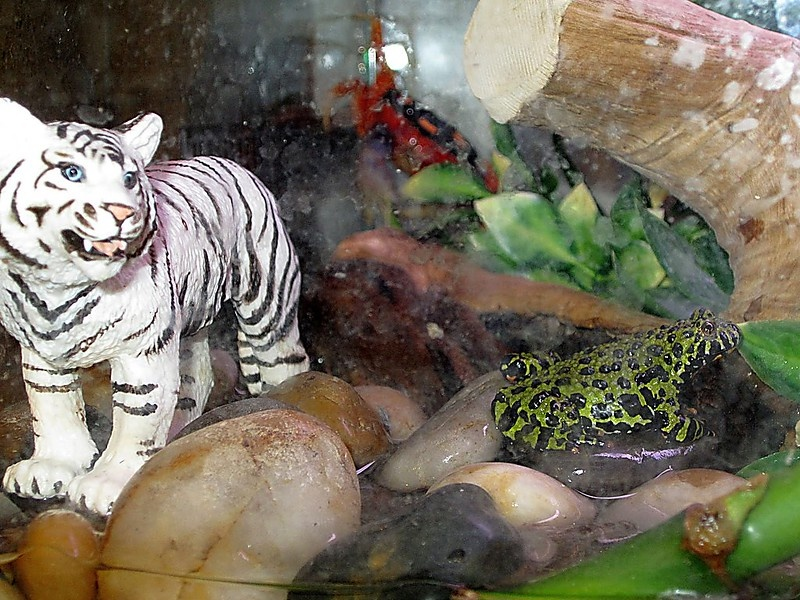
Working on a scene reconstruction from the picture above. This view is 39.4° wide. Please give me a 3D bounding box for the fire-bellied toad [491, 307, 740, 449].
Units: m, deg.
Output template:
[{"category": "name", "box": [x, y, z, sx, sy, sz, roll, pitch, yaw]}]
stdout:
[{"category": "fire-bellied toad", "box": [0.465, 0.179, 2.421, 0.435, 0.195, 0.303, -12, 43, 10]}]
